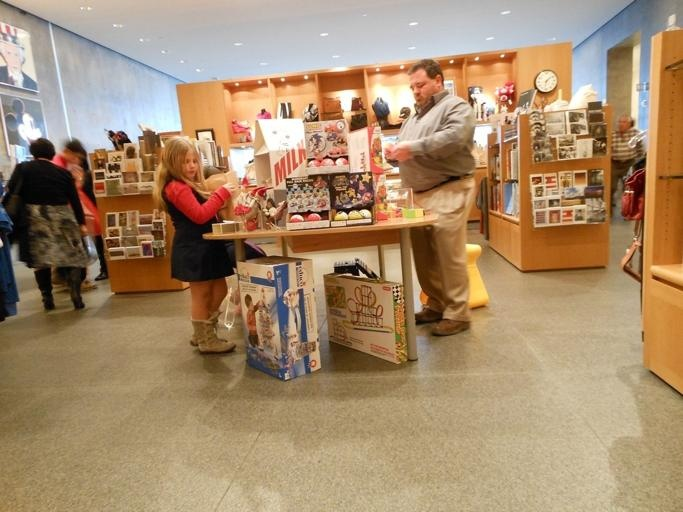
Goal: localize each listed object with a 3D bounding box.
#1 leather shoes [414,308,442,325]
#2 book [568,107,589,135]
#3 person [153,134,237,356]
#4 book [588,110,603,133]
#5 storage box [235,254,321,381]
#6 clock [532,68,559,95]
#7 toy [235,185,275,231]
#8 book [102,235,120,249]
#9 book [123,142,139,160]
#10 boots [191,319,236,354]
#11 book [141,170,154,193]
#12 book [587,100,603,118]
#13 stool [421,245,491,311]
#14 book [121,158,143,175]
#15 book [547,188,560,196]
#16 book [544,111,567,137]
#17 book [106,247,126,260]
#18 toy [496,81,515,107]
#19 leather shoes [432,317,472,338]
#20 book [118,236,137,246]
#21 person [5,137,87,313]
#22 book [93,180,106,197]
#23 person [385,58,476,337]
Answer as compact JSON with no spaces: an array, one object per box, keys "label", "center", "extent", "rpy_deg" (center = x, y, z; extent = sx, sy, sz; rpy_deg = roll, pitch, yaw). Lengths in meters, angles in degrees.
[{"label":"leather shoes","center":[0.691,0.482,3.764],"extent":[0.273,0.105,0.097],"rpy_deg":[2,-2,-28]},{"label":"book","center":[2.344,-1.313,4.649],"extent":[0.193,0.247,0.053],"rpy_deg":[-7,14,-5]},{"label":"person","center":[-1.005,-0.058,3.416],"extent":[0.513,1.570,0.356],"rpy_deg":[-10,15,-20]},{"label":"book","center":[2.509,-1.310,4.629],"extent":[0.184,0.178,0.043],"rpy_deg":[-3,6,-1]},{"label":"storage box","center":[-0.450,0.386,3.052],"extent":[0.530,0.741,0.273],"rpy_deg":[2,16,27]},{"label":"clock","center":[3.588,-3.025,8.197],"extent":[0.445,0.412,0.153],"rpy_deg":[-5,14,2]},{"label":"toy","center":[-0.552,-0.319,3.148],"extent":[0.281,0.247,0.191],"rpy_deg":[-1,15,16]},{"label":"book","center":[-2.687,-0.160,5.472],"extent":[0.203,0.135,0.109],"rpy_deg":[3,19,4]},{"label":"book","center":[-2.342,-1.173,5.316],"extent":[0.170,0.164,0.166],"rpy_deg":[5,31,3]},{"label":"boots","center":[-0.986,0.607,3.566],"extent":[0.368,0.260,0.141],"rpy_deg":[5,-17,-43]},{"label":"book","center":[-2.195,-0.831,5.315],"extent":[0.213,0.243,0.085],"rpy_deg":[0,15,20]},{"label":"book","center":[2.493,-1.422,4.602],"extent":[0.170,0.150,0.041],"rpy_deg":[1,6,5]},{"label":"stool","center":[1.036,0.202,4.114],"extent":[0.413,0.506,0.381],"rpy_deg":[-7,2,-27]},{"label":"book","center":[-2.369,-1.018,5.350],"extent":[0.287,0.193,0.151],"rpy_deg":[5,17,5]},{"label":"book","center":[2.141,-0.645,4.743],"extent":[0.121,0.074,0.028],"rpy_deg":[-1,15,16]},{"label":"book","center":[2.135,-1.307,4.664],"extent":[0.232,0.211,0.125],"rpy_deg":[2,15,12]},{"label":"book","center":[-2.634,-0.038,5.468],"extent":[0.225,0.124,0.049],"rpy_deg":[-1,15,16]},{"label":"toy","center":[2.976,-2.896,8.513],"extent":[0.336,0.480,0.303],"rpy_deg":[-5,14,2]},{"label":"leather shoes","center":[0.798,0.523,3.468],"extent":[0.313,0.142,0.120],"rpy_deg":[5,-3,-27]},{"label":"book","center":[-2.476,-0.170,5.440],"extent":[0.205,0.132,0.108],"rpy_deg":[1,-3,7]},{"label":"person","center":[-3.077,-0.207,4.942],"extent":[0.688,1.582,0.386],"rpy_deg":[-12,15,-25]},{"label":"book","center":[-2.798,-0.773,5.426],"extent":[0.163,0.208,0.210],"rpy_deg":[-4,6,-35]},{"label":"person","center":[0.627,-0.421,3.464],"extent":[0.614,1.975,0.759],"rpy_deg":[3,16,31]}]
